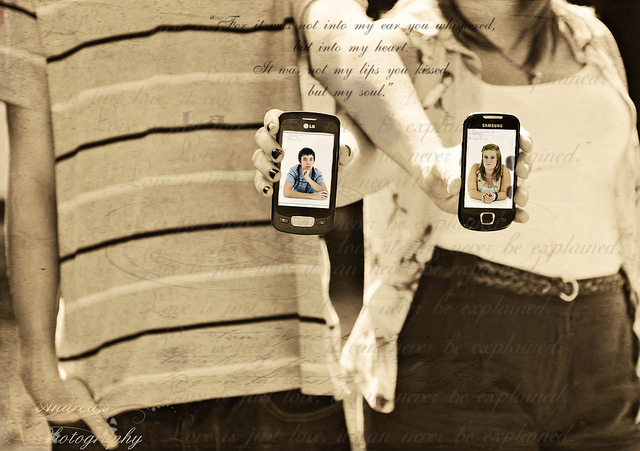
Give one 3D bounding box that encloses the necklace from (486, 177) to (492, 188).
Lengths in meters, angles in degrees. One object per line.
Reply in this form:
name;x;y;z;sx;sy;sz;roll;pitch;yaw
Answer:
necklace;0.460;-0.114;2.741;0.013;0.024;0.003;-5;8;-7
